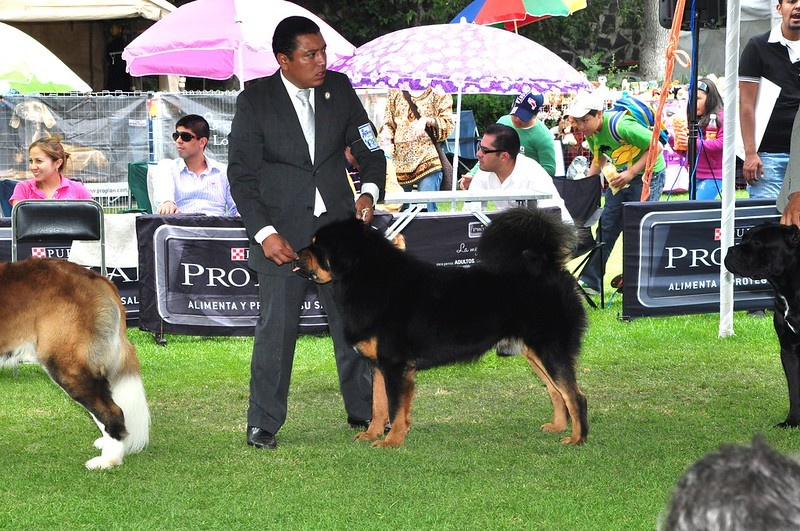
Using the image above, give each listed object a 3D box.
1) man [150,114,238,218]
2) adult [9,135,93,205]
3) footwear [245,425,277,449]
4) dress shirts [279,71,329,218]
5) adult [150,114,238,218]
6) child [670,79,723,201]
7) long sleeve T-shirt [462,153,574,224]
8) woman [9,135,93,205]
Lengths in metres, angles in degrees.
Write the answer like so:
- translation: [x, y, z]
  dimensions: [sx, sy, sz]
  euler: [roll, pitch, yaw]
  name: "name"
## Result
- translation: [-2.598, -1.324, 13.709]
  dimensions: [1.240, 1.551, 1.417]
  euler: [-2, 11, -12]
  name: "man"
- translation: [-4.097, -1.151, 12.782]
  dimensions: [0.851, 0.728, 0.447]
  euler: [-2, 8, -17]
  name: "adult"
- translation: [-1.289, 1.610, 10.224]
  dimensions: [0.153, 0.117, 0.300]
  euler: [1, -4, -36]
  name: "footwear"
- translation: [-0.856, -1.340, 10.372]
  dimensions: [0.264, 1.771, 0.319]
  euler: [-14, 5, -29]
  name: "dress shirts"
- translation: [-2.625, -1.364, 13.932]
  dimensions: [1.240, 1.551, 1.417]
  euler: [-2, 11, -12]
  name: "adult"
- translation: [4.469, -1.890, 16.113]
  dimensions: [0.630, 1.785, 3.023]
  euler: [3, 8, 15]
  name: "child"
- translation: [1.423, -0.915, 13.065]
  dimensions: [1.113, 0.862, 0.609]
  euler: [5, 24, 34]
  name: "long sleeve T-shirt"
- translation: [-4.097, -1.151, 12.782]
  dimensions: [0.849, 0.728, 0.448]
  euler: [-2, 8, -17]
  name: "woman"
